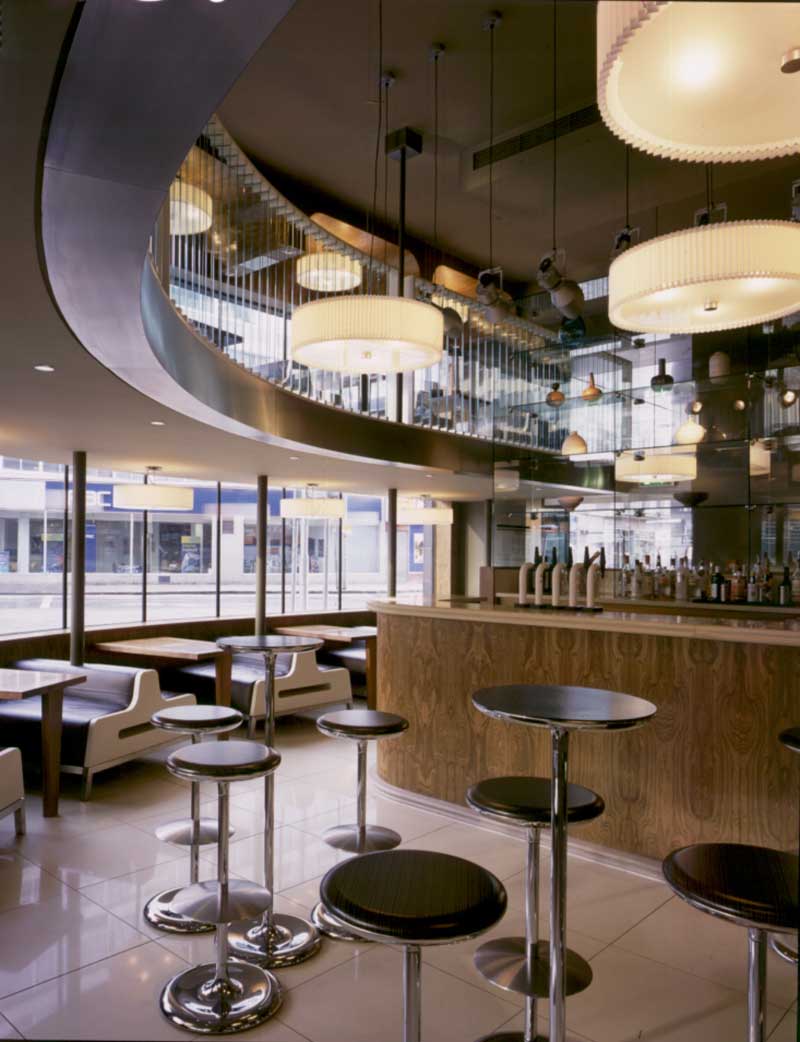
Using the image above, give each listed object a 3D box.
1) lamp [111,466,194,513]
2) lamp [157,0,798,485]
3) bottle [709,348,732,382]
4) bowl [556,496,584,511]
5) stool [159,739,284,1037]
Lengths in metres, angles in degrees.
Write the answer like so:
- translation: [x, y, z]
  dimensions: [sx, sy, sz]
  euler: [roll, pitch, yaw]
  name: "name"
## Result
- translation: [-2.064, -0.347, 8.061]
  dimensions: [0.607, 0.228, 0.643]
  euler: [-3, -6, 21]
  name: "lamp"
- translation: [-0.097, -1.364, 5.911]
  dimensions: [2.381, 2.122, 4.325]
  euler: [-2, -2, 38]
  name: "lamp"
- translation: [2.098, -1.033, 6.083]
  dimensions: [0.153, 0.189, 0.152]
  euler: [5, -6, -43]
  name: "bottle"
- translation: [1.225, -0.129, 6.669]
  dimensions: [0.112, 0.093, 0.112]
  euler: [-4, 0, 0]
  name: "bowl"
- translation: [-0.618, 1.223, 3.167]
  dimensions: [0.402, 0.819, 0.561]
  euler: [0, -1, -10]
  name: "stool"
